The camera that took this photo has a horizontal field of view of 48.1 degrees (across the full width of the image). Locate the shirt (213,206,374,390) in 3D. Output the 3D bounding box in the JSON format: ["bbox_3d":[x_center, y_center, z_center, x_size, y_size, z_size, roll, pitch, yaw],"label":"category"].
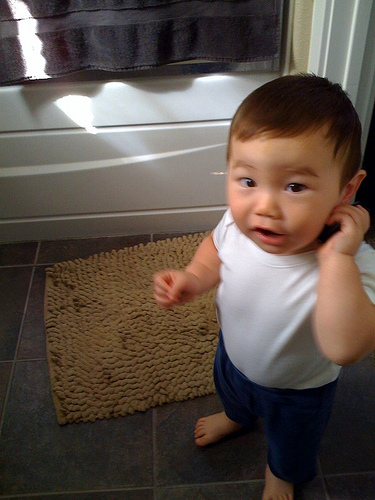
[{"bbox_3d":[0.130,0.058,0.523,0.127,0.198,0.217,-30,44,-27],"label":"shirt"}]
